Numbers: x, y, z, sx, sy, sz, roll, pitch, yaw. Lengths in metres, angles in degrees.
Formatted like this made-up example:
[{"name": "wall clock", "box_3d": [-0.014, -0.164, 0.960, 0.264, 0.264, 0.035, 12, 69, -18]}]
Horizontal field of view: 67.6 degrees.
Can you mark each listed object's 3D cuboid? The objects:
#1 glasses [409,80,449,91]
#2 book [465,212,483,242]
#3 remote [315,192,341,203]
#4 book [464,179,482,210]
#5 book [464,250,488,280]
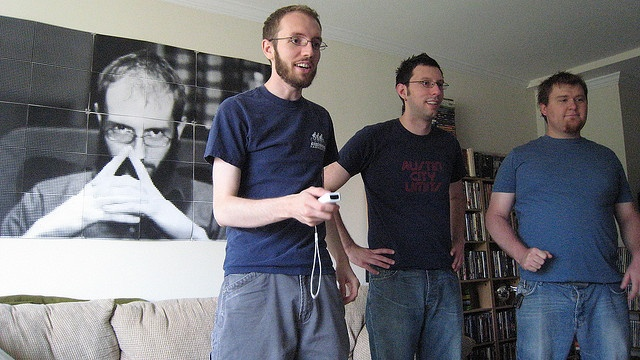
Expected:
[{"name": "glasses", "box_3d": [0.816, -0.729, 3.671, 0.169, 0.037, 0.161, 3, -9, -28]}, {"name": "book", "box_3d": [2.004, 0.622, 6.193, 0.267, 0.318, 0.104, 2, 0, -30]}, {"name": "remote", "box_3d": [0.053, 0.109, 2.792, 0.125, 0.061, 0.118, 1, -1, 0]}, {"name": "book", "box_3d": [1.969, 0.211, 6.176, 0.250, 0.376, 0.401, -5, -8, 28]}, {"name": "book", "box_3d": [1.961, 1.141, 6.229, 0.367, 0.402, 0.475, -4, -14, 15]}]
